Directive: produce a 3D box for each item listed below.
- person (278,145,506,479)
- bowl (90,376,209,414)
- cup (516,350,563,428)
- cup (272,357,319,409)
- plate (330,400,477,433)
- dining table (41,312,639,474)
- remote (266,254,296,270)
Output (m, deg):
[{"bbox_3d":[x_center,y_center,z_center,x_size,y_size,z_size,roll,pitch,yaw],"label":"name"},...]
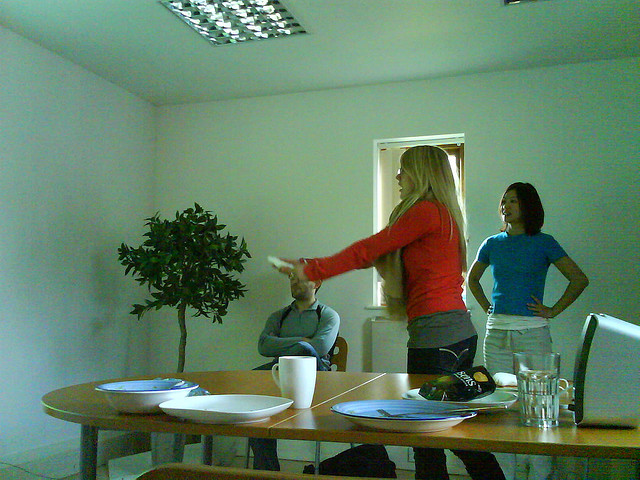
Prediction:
[{"bbox_3d":[0.294,0.062,2.254,0.632,0.923,0.308,-1,-2,3],"label":"person"},{"bbox_3d":[-0.516,0.437,1.594,0.183,0.029,0.159,-2,-3,23],"label":"bowl"},{"bbox_3d":[0.581,0.388,1.495,0.111,0.187,0.154,-2,-2,18],"label":"cup"},{"bbox_3d":[-0.067,0.421,1.677,0.180,0.114,0.110,-10,-15,30],"label":"cup"},{"bbox_3d":[0.213,0.455,1.442,0.357,0.049,0.191,-1,-2,11],"label":"plate"},{"bbox_3d":[0.068,0.449,1.676,1.552,0.442,0.784,-2,-2,25],"label":"dining table"},{"bbox_3d":[-0.166,0.091,2.190,0.103,0.052,0.155,0,-2,-17],"label":"remote"}]
